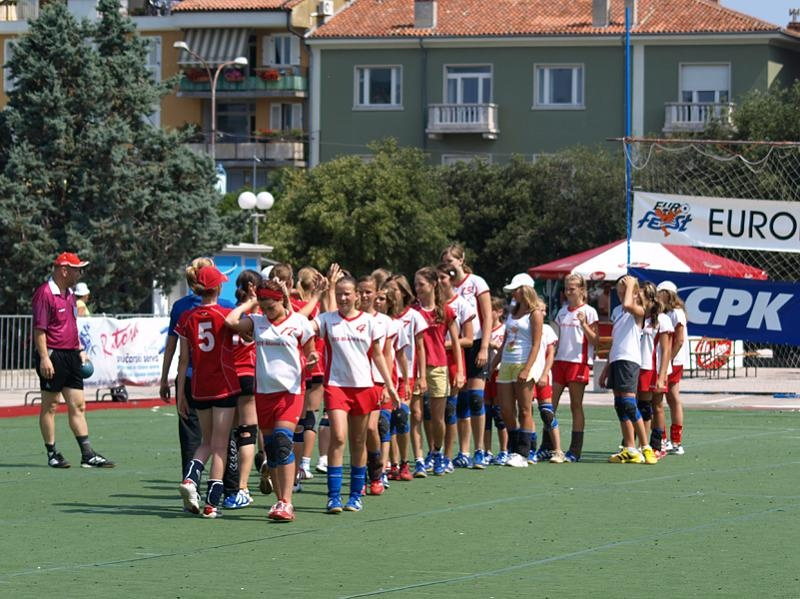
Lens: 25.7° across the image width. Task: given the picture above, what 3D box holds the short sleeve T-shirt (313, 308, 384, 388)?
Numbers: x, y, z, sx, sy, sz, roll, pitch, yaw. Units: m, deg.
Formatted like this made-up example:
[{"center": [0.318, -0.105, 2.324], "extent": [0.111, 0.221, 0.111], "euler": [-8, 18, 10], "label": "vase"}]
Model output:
[{"center": [-0.748, 0.763, 26.058], "extent": [1.068, 1.153, 0.610], "euler": [0, 17, -8], "label": "short sleeve T-shirt"}]

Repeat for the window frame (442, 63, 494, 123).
[{"center": [2.500, -7.365, 62.599], "extent": [1.752, 2.237, 0.222], "euler": [-1, 35, 0], "label": "window frame"}]

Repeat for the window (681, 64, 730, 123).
[{"center": [10.517, -7.013, 60.049], "extent": [1.745, 2.445, 0.191], "euler": [1, 37, 11], "label": "window"}]

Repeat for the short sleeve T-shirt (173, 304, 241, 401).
[{"center": [-2.778, 0.836, 25.820], "extent": [1.169, 1.573, 0.534], "euler": [-6, -1, 1], "label": "short sleeve T-shirt"}]

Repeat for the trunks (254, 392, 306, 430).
[{"center": [-1.751, 1.752, 25.799], "extent": [0.706, 0.742, 0.479], "euler": [-1, -9, 1], "label": "trunks"}]

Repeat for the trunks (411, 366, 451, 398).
[{"center": [0.514, 1.366, 27.926], "extent": [0.630, 0.654, 0.431], "euler": [1, 5, 13], "label": "trunks"}]

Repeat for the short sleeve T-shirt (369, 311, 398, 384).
[{"center": [-0.156, 0.959, 26.040], "extent": [0.293, 0.741, 0.875], "euler": [13, 14, -14], "label": "short sleeve T-shirt"}]

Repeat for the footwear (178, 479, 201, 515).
[{"center": [-3.063, 2.993, 25.802], "extent": [0.215, 0.589, 0.251], "euler": [-9, 29, 2], "label": "footwear"}]

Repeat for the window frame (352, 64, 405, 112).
[{"center": [-0.682, -7.641, 63.508], "extent": [1.902, 1.545, 0.187], "euler": [3, 6, 22], "label": "window frame"}]

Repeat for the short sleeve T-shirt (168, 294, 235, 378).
[{"center": [-2.884, 0.622, 25.907], "extent": [1.141, 1.447, 0.483], "euler": [-4, 6, -20], "label": "short sleeve T-shirt"}]

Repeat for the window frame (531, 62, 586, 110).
[{"center": [5.681, -7.486, 61.459], "extent": [1.604, 1.473, 0.188], "euler": [1, 0, 26], "label": "window frame"}]

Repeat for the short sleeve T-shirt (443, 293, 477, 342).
[{"center": [0.954, 0.385, 28.051], "extent": [0.563, 0.650, 0.219], "euler": [-18, -1, -36], "label": "short sleeve T-shirt"}]

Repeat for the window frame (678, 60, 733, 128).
[{"center": [10.404, -7.057, 59.642], "extent": [1.733, 2.243, 0.189], "euler": [0, -17, 8], "label": "window frame"}]

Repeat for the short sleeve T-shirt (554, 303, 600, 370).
[{"center": [2.912, 0.660, 29.155], "extent": [0.764, 1.062, 0.542], "euler": [0, -4, 34], "label": "short sleeve T-shirt"}]

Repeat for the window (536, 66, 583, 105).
[{"center": [5.710, -7.497, 61.489], "extent": [1.324, 1.217, 0.157], "euler": [1, -1, 28], "label": "window"}]

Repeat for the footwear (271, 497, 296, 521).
[{"center": [-1.657, 3.179, 25.594], "extent": [0.473, 0.326, 0.268], "euler": [-5, 9, -35], "label": "footwear"}]

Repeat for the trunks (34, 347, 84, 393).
[{"center": [-5.483, 1.214, 28.612], "extent": [0.513, 0.741, 0.768], "euler": [5, 4, 42], "label": "trunks"}]

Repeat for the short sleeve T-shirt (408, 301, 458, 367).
[{"center": [0.523, 0.632, 27.723], "extent": [0.922, 1.233, 0.426], "euler": [-1, -4, 14], "label": "short sleeve T-shirt"}]

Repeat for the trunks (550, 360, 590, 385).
[{"center": [2.886, 1.325, 29.090], "extent": [0.574, 0.467, 0.361], "euler": [-4, -10, 36], "label": "trunks"}]

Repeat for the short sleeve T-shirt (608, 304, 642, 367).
[{"center": [3.777, 0.636, 29.062], "extent": [0.396, 1.071, 0.792], "euler": [7, -10, -37], "label": "short sleeve T-shirt"}]

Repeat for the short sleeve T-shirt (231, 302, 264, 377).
[{"center": [-2.125, 0.584, 26.027], "extent": [0.651, 1.296, 1.257], "euler": [0, -1, -10], "label": "short sleeve T-shirt"}]

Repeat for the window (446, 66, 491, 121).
[{"center": [2.484, -7.390, 62.615], "extent": [1.729, 2.201, 0.223], "euler": [-2, 37, 0], "label": "window"}]

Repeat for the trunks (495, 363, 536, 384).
[{"center": [1.834, 1.276, 28.463], "extent": [0.528, 0.417, 0.325], "euler": [-1, -4, 23], "label": "trunks"}]

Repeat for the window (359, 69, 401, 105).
[{"center": [-0.603, -7.657, 63.453], "extent": [1.176, 1.586, 0.146], "euler": [-3, 7, 12], "label": "window"}]

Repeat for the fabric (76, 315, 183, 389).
[{"center": [-5.788, 1.243, 37.493], "extent": [2.437, 1.553, 0.139], "euler": [-2, 0, 33], "label": "fabric"}]

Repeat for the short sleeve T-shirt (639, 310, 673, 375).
[{"center": [4.245, 0.798, 29.125], "extent": [0.348, 1.049, 0.870], "euler": [4, -10, -19], "label": "short sleeve T-shirt"}]

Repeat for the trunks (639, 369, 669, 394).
[{"center": [4.224, 1.457, 28.960], "extent": [0.563, 0.443, 0.335], "euler": [2, -3, -14], "label": "trunks"}]

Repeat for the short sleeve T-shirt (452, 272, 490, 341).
[{"center": [1.153, 0.235, 28.298], "extent": [0.425, 1.337, 0.970], "euler": [-2, -3, -23], "label": "short sleeve T-shirt"}]

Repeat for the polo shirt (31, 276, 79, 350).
[{"center": [-5.521, 0.337, 28.636], "extent": [0.539, 1.175, 1.006], "euler": [-2, -1, 34], "label": "polo shirt"}]

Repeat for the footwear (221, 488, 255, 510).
[{"center": [-2.416, 3.110, 26.263], "extent": [0.482, 0.236, 0.194], "euler": [1, -4, -35], "label": "footwear"}]

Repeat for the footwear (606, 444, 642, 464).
[{"center": [3.750, 2.686, 29.143], "extent": [0.565, 0.296, 0.235], "euler": [1, -1, 3], "label": "footwear"}]

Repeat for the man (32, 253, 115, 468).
[{"center": [-5.417, 1.093, 28.664], "extent": [1.146, 3.520, 1.187], "euler": [0, 3, -24], "label": "man"}]
